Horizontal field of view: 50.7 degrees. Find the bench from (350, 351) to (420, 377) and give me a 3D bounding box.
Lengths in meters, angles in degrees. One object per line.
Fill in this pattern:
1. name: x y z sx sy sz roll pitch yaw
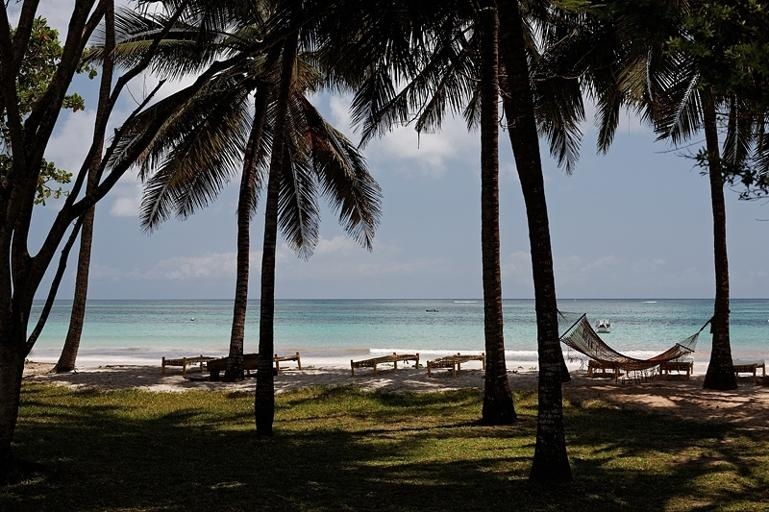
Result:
1. bench: -0.070 3.398 25.646 1.937 0.512 7.079 -2 -6 -1
